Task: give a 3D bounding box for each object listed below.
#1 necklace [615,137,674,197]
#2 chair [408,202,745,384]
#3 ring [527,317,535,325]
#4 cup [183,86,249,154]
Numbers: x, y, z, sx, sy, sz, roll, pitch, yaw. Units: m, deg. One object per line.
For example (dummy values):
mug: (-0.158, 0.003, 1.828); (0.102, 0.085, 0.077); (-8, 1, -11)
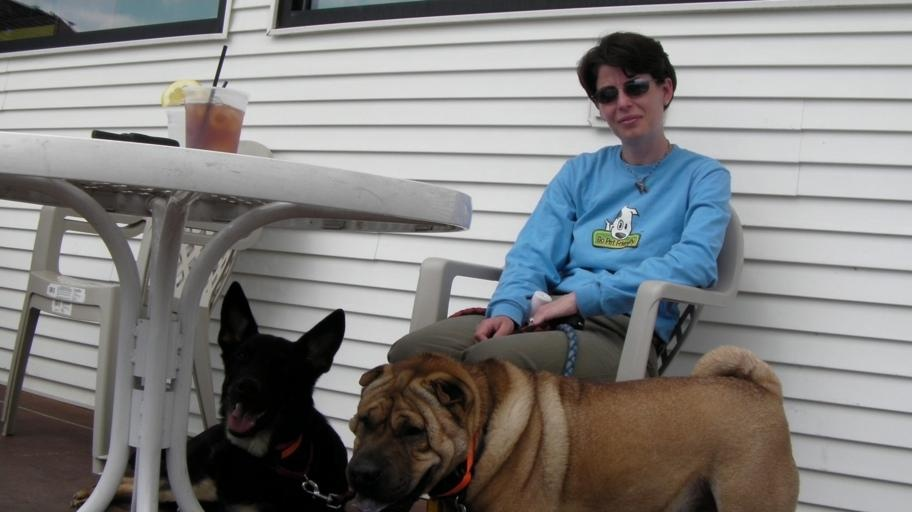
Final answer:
necklace: (0.953, -0.411, 2.895); (0.246, 0.292, 0.108); (-1, 0, 15)
chair: (0.553, 0.173, 2.667); (1.115, 0.858, 0.986); (7, -17, 46)
ring: (0.350, 0.295, 2.639); (0.009, 0.027, 0.021); (22, -24, -26)
cup: (-0.881, -0.485, 2.243); (0.288, 0.260, 0.258); (4, 5, -22)
